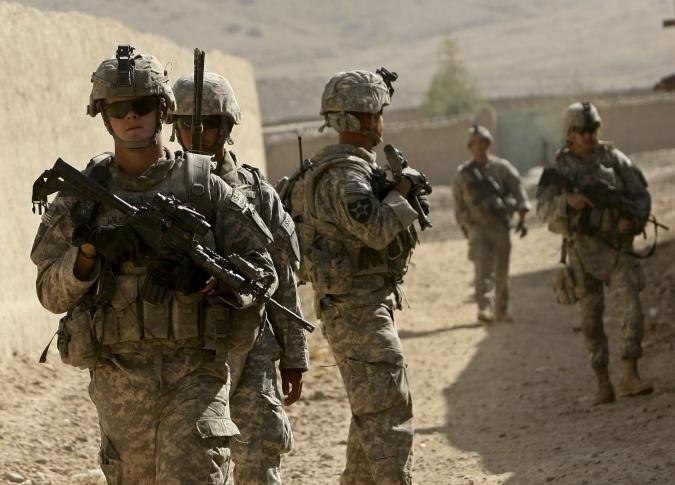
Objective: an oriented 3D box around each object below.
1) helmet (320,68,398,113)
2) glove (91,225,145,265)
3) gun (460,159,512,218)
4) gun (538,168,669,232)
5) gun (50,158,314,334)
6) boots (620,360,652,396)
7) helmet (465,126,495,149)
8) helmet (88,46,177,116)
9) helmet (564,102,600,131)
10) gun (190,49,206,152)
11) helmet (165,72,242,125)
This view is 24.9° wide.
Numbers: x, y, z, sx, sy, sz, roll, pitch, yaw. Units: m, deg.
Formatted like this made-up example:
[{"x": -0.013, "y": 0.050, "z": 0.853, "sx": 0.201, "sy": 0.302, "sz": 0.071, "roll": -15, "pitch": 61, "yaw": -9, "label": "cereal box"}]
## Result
[{"x": 0.160, "y": -1.145, "z": 11.627, "sx": 0.453, "sy": 0.294, "sz": 0.330, "roll": 8, "pitch": -9, "yaw": -22, "label": "helmet"}, {"x": -1.461, "y": 0.014, "z": 10.177, "sx": 0.268, "sy": 0.275, "sz": 0.120, "roll": -31, "pitch": 13, "yaw": 7, "label": "glove"}, {"x": 1.461, "y": -0.512, "z": 15.115, "sx": 0.169, "sy": 0.376, "sz": 0.858, "roll": 31, "pitch": 13, "yaw": -25, "label": "gun"}, {"x": 2.048, "y": -0.333, "z": 11.542, "sx": 0.725, "sy": 0.262, "sz": 0.106, "roll": 27, "pitch": 30, "yaw": 18, "label": "gun"}, {"x": -1.124, "y": 0.042, "z": 10.459, "sx": 1.788, "sy": 0.631, "sz": 0.184, "roll": 38, "pitch": 2, "yaw": -6, "label": "gun"}, {"x": 2.207, "y": 0.989, "z": 11.483, "sx": 0.279, "sy": 0.278, "sz": 0.140, "roll": 0, "pitch": 14, "yaw": -16, "label": "boots"}, {"x": 1.464, "y": -1.090, "z": 15.742, "sx": 0.209, "sy": 0.163, "sz": 0.236, "roll": 3, "pitch": 4, "yaw": 29, "label": "helmet"}, {"x": -1.413, "y": -1.120, "z": 10.411, "sx": 0.489, "sy": 0.399, "sz": 0.502, "roll": -4, "pitch": -19, "yaw": -2, "label": "helmet"}, {"x": 1.872, "y": -0.962, "z": 11.709, "sx": 0.217, "sy": 0.143, "sz": 0.216, "roll": -10, "pitch": 4, "yaw": -35, "label": "helmet"}, {"x": -1.017, "y": -1.020, "z": 11.120, "sx": 0.088, "sy": 0.944, "sz": 0.277, "roll": 0, "pitch": -1, "yaw": -4, "label": "gun"}, {"x": -0.975, "y": -1.095, "z": 11.433, "sx": 0.412, "sy": 0.284, "sz": 0.423, "roll": 0, "pitch": 5, "yaw": -4, "label": "helmet"}]
